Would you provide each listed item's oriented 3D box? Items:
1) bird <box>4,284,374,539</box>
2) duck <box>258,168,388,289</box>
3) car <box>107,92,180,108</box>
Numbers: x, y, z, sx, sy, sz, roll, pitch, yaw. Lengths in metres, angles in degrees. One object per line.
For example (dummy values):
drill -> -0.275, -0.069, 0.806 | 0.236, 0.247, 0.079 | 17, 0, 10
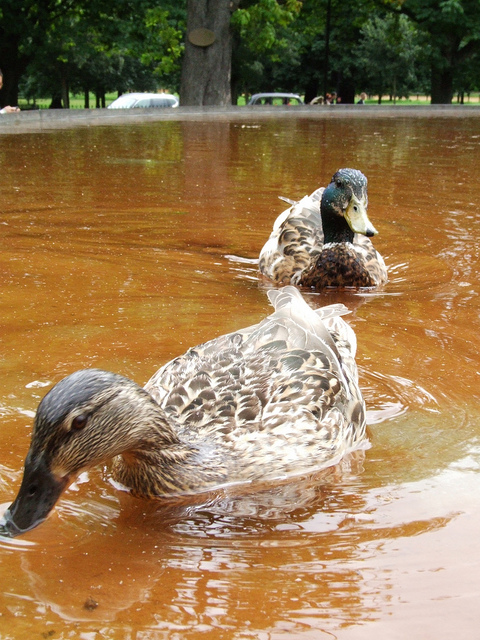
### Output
bird -> -0.110, 0.298, 2.520 | 0.585, 0.574, 1.345 | 4, 25, 39
duck -> 0.694, -0.604, 6.413 | 1.006, 1.099, 1.124 | 1, 22, -6
car -> -5.118, -11.735, 41.592 | 1.735, 0.972, 6.229 | 5, 13, 13
